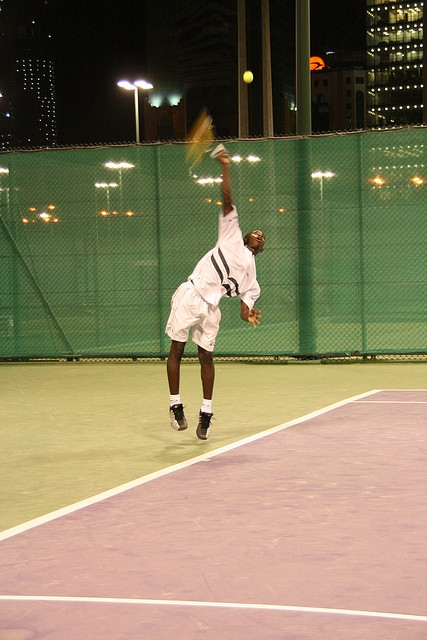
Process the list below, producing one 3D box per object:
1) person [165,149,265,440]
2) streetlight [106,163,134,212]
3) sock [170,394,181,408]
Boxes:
[{"bbox_3d":[-0.044,-0.248,5.689,0.575,2.464,0.832,1,9,42],"label":"person"},{"bbox_3d":[-1.706,-2.450,11.812,0.487,0.888,0.114,-2,7,17],"label":"streetlight"},{"bbox_3d":[-0.332,0.719,5.697,0.107,0.133,0.112,-5,-2,11],"label":"sock"}]
